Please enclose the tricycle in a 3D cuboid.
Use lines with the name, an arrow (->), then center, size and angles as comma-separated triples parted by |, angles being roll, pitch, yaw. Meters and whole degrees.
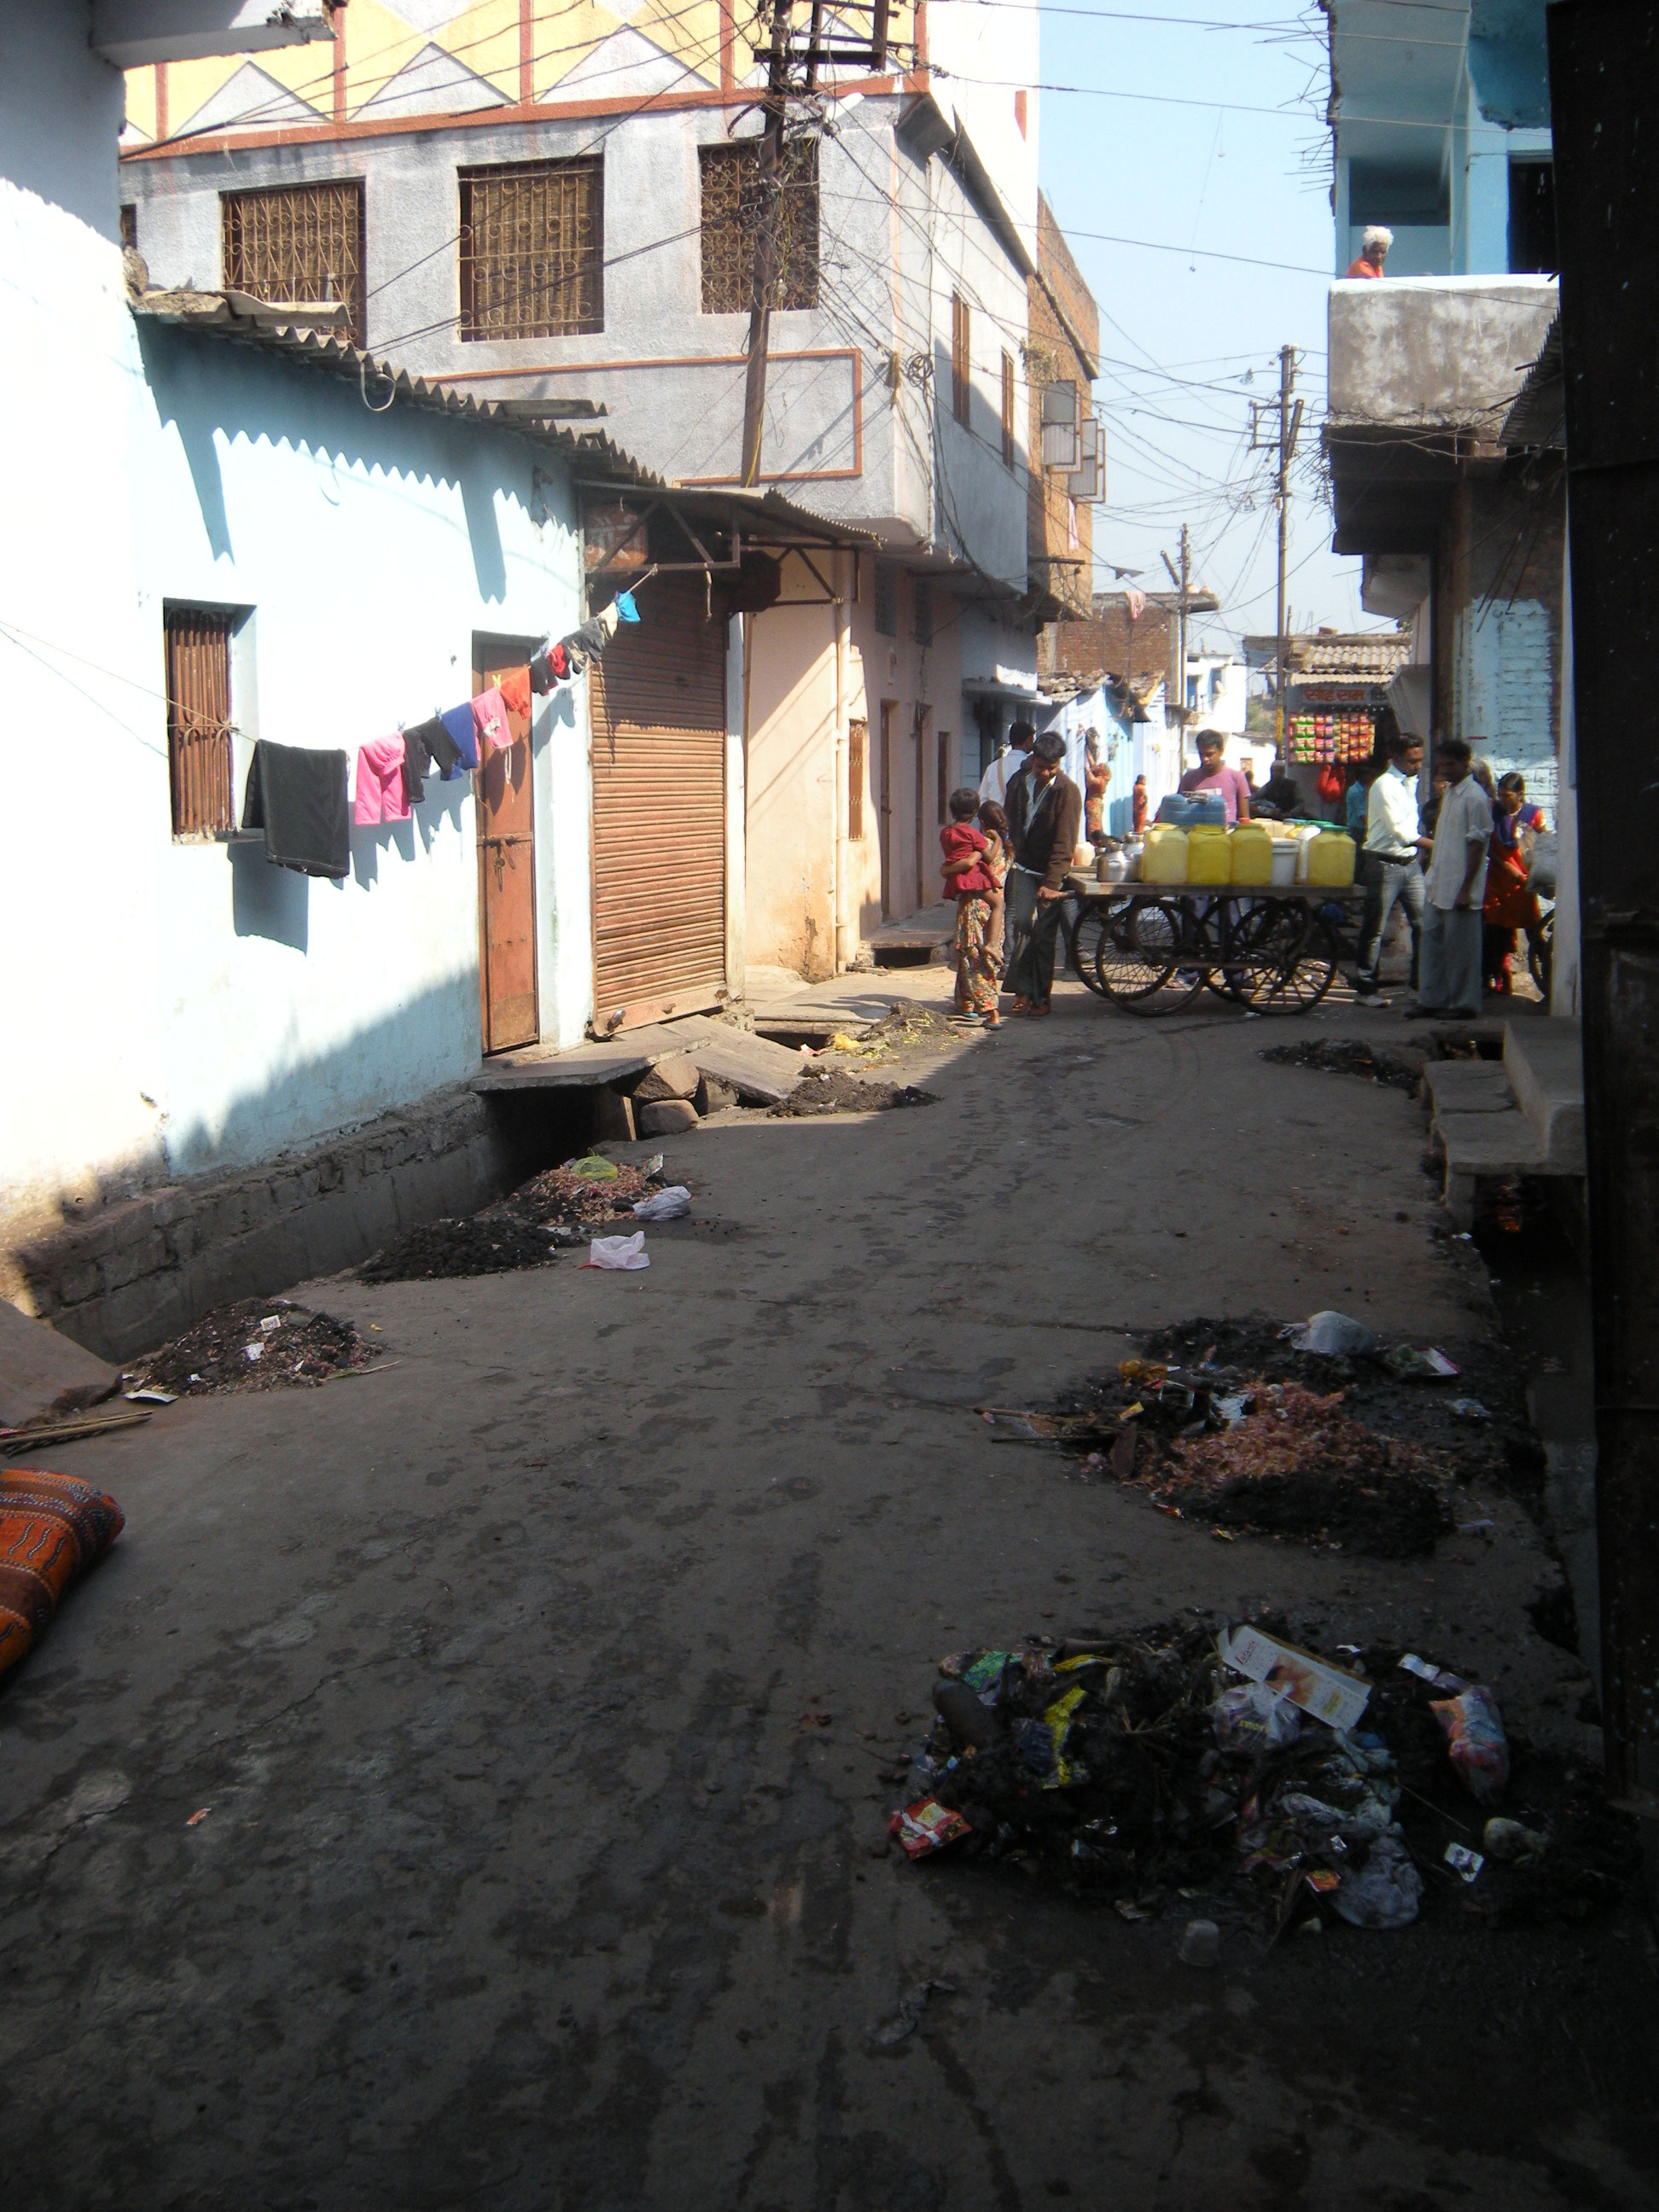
tricycle -> 3.152, -1.241, 15.301 | 2.439, 1.577, 1.066 | 1, 8, 7
